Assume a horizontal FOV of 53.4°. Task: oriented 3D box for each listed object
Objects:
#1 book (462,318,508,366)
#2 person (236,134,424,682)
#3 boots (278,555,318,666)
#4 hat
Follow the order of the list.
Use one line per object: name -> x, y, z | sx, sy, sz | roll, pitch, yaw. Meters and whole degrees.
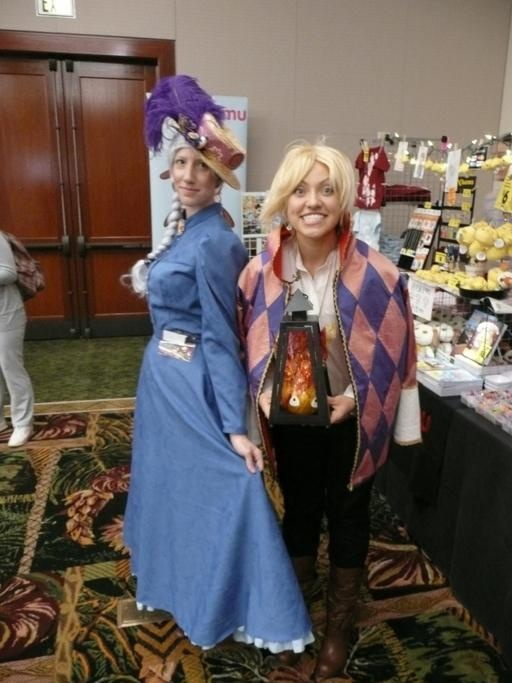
book -> 0.819, 0.008, 1.834 | 0.041, 0.160, 0.162 | 22, 55, 6
person -> 0.151, 0.215, 1.288 | 0.436, 1.327, 0.346 | -9, 15, -39
boots -> 0.146, 0.796, 1.563 | 0.109, 0.289, 0.221 | -2, 22, 7
hat -> -0.103, -0.454, 1.206 | 0.157, 0.172, 0.105 | -4, 12, -20
